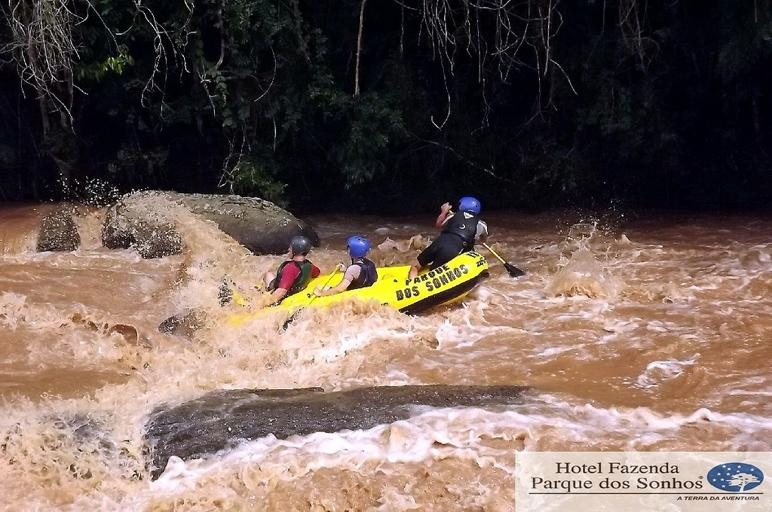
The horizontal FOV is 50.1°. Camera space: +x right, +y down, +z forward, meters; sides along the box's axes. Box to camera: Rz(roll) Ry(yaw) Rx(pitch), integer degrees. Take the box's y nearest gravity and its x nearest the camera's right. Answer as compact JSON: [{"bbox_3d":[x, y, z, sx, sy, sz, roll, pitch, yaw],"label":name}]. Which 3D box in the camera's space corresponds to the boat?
[{"bbox_3d":[0.019,0.579,13.513,3.285,0.628,1.576,-13,8,-8],"label":"boat"}]

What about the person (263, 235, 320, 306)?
[{"bbox_3d":[-1.620,0.274,13.835,0.840,1.118,0.663,-15,50,-44],"label":"person"}]

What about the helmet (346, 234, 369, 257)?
[{"bbox_3d":[-0.467,-0.171,13.530,0.273,0.279,0.359,-4,51,-31],"label":"helmet"}]

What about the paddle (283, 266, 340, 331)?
[{"bbox_3d":[-1.207,0.708,13.125,1.244,0.106,0.143,-47,53,-10],"label":"paddle"}]

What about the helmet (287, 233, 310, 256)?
[{"bbox_3d":[-1.387,-0.152,13.287,0.312,0.310,0.304,-6,13,-5],"label":"helmet"}]

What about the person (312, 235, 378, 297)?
[{"bbox_3d":[-0.720,0.203,14.393,0.507,0.708,0.889,34,36,30],"label":"person"}]
